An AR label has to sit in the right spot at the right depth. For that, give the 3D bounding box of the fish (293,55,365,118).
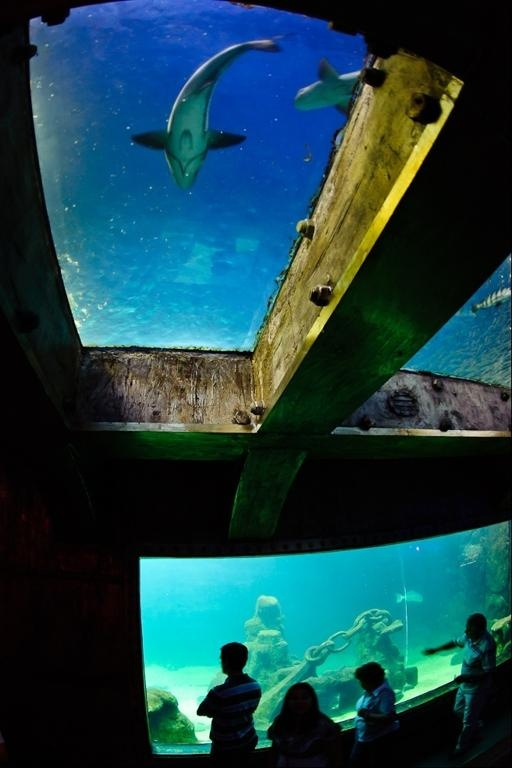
[{"bbox_3d":[0.465,-1.902,4.382,0.173,0.374,0.494,4,-8,-38],"label":"fish"}]

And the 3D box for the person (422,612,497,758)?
[{"bbox_3d":[2.185,3.032,7.185,0.528,1.395,0.714,-3,-7,15],"label":"person"}]

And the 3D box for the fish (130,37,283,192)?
[{"bbox_3d":[-0.445,-1.901,4.913,0.714,1.014,0.362,6,27,-7],"label":"fish"}]
